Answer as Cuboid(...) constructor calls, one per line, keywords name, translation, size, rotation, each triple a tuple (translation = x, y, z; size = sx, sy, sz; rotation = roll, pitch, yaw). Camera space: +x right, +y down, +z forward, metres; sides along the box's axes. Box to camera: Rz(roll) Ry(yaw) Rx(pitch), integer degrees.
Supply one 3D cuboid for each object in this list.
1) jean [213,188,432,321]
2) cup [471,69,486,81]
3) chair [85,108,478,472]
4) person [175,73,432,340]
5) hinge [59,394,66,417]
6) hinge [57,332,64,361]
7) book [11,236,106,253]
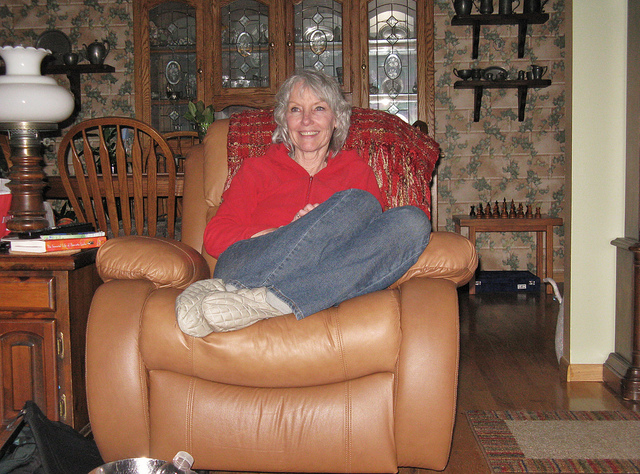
Cuboid(name="jean", translation=(-0.033, 0.059, 2.369), size=(0.915, 0.378, 0.654), rotation=(-9, 14, 0))
Cuboid(name="cup", translation=(1.262, -1.276, 4.834), size=(0.094, 0.099, 0.119), rotation=(1, -2, 37))
Cuboid(name="chair", translation=(-0.078, 0.235, 2.888), size=(1.265, 1.452, 1.512), rotation=(0, -1, 4))
Cuboid(name="person", translation=(-0.117, -0.174, 2.451), size=(0.933, 1.143, 0.877), rotation=(4, -2, -34))
Cuboid(name="hinge", translation=(-1.030, 0.669, 2.410), size=(0.025, 0.083, 0.018), rotation=(-2, 13, -24))
Cuboid(name="hinge", translation=(-1.032, 0.433, 2.399), size=(0.025, 0.109, 0.019), rotation=(-1, 13, -22))
Cuboid(name="book", translation=(-1.072, 0.029, 2.475), size=(0.355, 0.058, 0.072), rotation=(-1, 13, -24))
